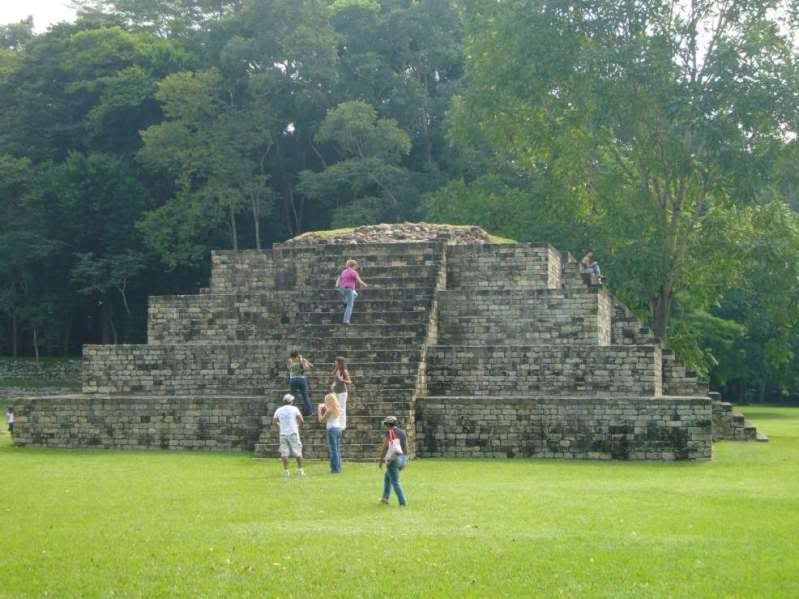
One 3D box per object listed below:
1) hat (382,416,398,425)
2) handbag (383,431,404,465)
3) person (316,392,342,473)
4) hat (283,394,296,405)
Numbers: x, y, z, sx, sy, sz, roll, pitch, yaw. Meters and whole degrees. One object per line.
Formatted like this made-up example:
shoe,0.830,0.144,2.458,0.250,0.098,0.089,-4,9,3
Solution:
hat,-0.348,4.647,68.403,0.536,0.268,0.347,6,2,8
handbag,-0.159,5.669,67.838,0.486,1.047,0.977,-16,-6,-44
person,-2.713,5.342,71.490,0.887,3.252,0.824,0,-7,-3
hat,-4.426,4.037,71.834,0.508,0.469,0.462,-7,15,-36
